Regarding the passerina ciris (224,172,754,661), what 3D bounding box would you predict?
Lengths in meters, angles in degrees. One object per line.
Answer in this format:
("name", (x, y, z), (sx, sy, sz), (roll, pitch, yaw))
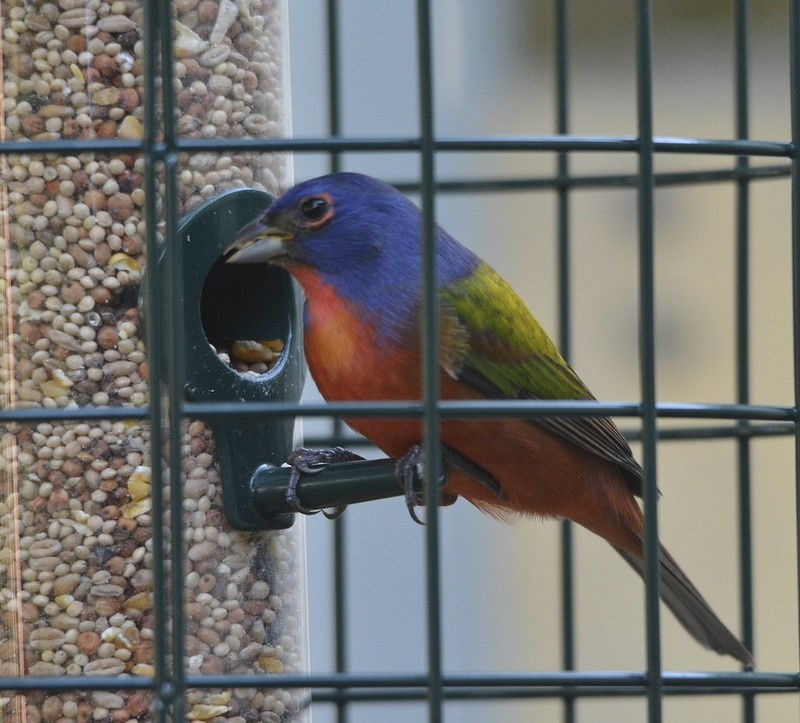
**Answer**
("passerina ciris", (0.158, 0.155, 2.946), (1.031, 0.413, 0.834), (12, 74, -18))
